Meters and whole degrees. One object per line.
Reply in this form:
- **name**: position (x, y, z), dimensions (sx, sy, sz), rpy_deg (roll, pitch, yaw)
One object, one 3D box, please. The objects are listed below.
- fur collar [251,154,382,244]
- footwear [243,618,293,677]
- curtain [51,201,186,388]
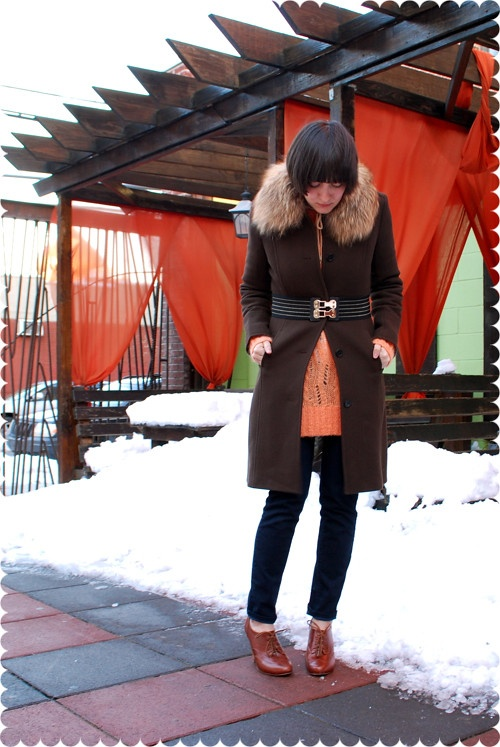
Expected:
- **fur collar**: position (0.169, -0.463, 1.836), dimensions (0.359, 0.224, 0.166), rpy_deg (-6, 1, 9)
- **footwear**: position (0.048, 0.720, 1.794), dimensions (0.083, 0.134, 0.184), rpy_deg (-7, 1, -16)
- **curtain**: position (-1.423, -0.918, 7.360), dimensions (2.005, 1.959, 0.186), rpy_deg (11, -6, -30)
